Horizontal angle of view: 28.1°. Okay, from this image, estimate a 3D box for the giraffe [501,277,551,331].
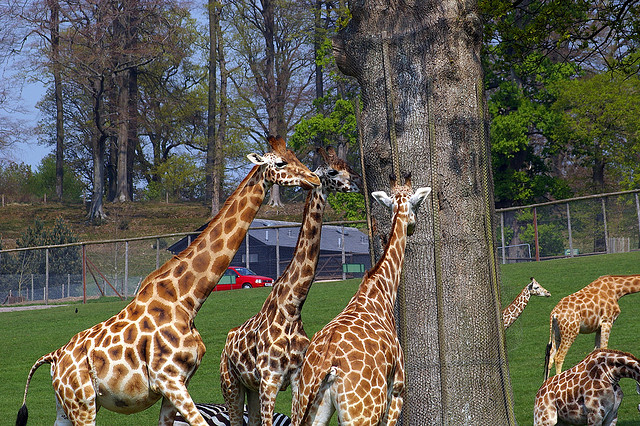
[{"bbox_3d":[9.815,4.542,63.470,1.667,3.605,4.130,0,-4,-3],"label":"giraffe"}]
